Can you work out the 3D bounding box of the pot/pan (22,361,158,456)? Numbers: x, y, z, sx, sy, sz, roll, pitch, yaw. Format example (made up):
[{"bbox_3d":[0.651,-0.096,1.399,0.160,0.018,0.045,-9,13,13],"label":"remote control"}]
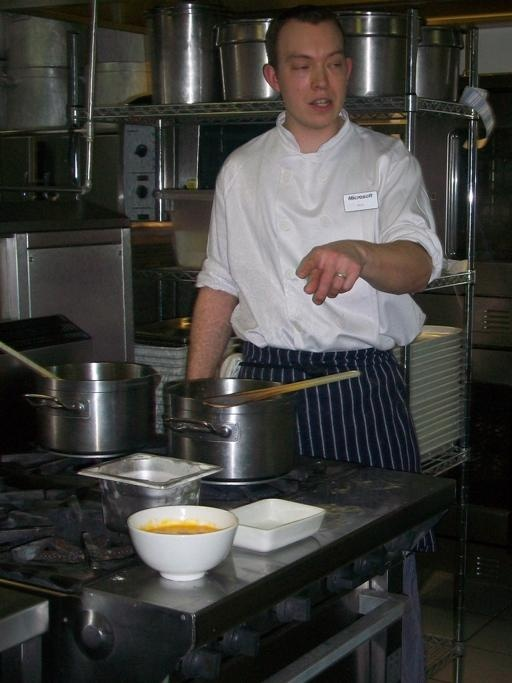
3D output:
[{"bbox_3d":[-0.253,0.106,1.043,0.215,0.119,0.289,2,8,11],"label":"pot/pan"}]

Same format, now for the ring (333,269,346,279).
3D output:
[{"bbox_3d":[0.110,-0.092,0.852,0.012,0.002,0.010,13,37,-7],"label":"ring"}]

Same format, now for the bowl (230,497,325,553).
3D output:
[{"bbox_3d":[0.015,0.184,0.657,0.053,0.021,0.080,2,2,35],"label":"bowl"}]
